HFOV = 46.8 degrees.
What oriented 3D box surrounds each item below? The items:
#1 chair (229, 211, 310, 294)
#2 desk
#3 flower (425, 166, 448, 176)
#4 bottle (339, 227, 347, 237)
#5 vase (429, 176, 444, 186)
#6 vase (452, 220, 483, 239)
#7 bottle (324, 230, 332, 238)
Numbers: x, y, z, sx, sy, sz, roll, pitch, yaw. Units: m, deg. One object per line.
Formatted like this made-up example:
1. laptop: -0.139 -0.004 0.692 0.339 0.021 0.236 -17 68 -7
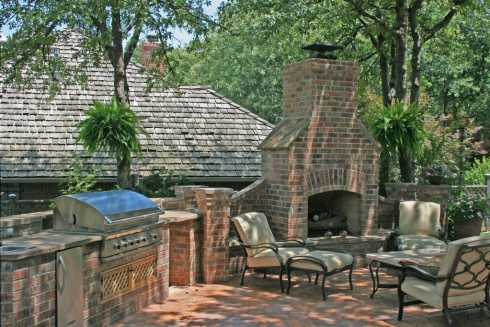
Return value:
1. chair: 0.659 2.159 14.194 1.609 1.604 1.827 -3 4 -41
2. desk: 3.849 2.742 13.550 1.192 0.999 2.119 -8 -3 -6
3. flower: 5.590 0.240 16.570 0.403 0.240 0.398 -1 -3 33
4. bottle: 2.682 1.927 15.469 0.216 0.252 0.210 1 -4 0
5. vase: 5.583 0.545 16.605 0.310 0.185 0.316 2 -2 30
6. vase: 6.998 2.029 17.780 0.831 0.631 0.775 -4 -6 41
7. bottle: 2.260 1.959 15.335 0.196 0.185 0.190 1 -4 -3
